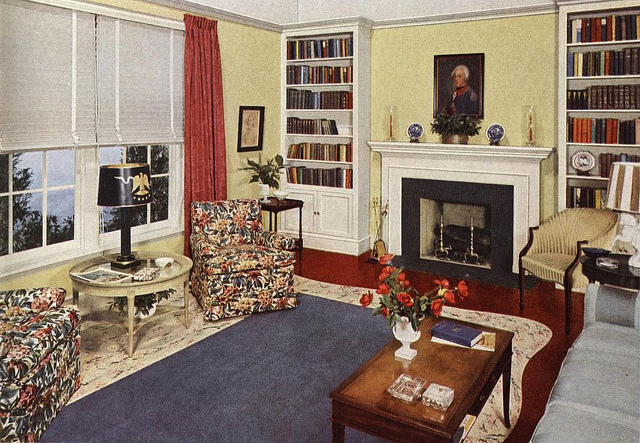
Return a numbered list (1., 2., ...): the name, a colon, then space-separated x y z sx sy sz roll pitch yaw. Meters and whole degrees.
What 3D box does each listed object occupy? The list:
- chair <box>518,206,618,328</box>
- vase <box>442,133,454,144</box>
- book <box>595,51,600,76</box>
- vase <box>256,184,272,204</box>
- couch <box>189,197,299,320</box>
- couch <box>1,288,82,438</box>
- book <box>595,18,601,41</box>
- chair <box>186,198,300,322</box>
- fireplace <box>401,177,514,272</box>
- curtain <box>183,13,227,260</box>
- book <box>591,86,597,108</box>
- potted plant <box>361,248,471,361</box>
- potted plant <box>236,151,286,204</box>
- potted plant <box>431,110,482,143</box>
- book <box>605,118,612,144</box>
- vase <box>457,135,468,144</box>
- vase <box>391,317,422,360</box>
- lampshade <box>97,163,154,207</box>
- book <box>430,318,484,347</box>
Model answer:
1. chair: 2.970 0.484 5.534 0.859 1.243 0.816 -2 9 -18
2. vase: 1.838 -1.172 6.660 0.135 0.112 0.144 3 5 29
3. book: 3.456 -1.933 5.777 0.054 0.279 0.061 -2 11 -11
4. vase: -0.819 -0.401 7.060 0.239 0.304 0.255 0 3 0
5. couch: -0.945 0.419 5.723 1.264 1.187 0.948 -4 12 -18
6. couch: -2.235 1.144 3.692 0.592 0.607 0.878 -5 13 -16
7. book: 3.453 -2.346 5.751 0.064 0.261 0.040 2 11 11
8. chair: -1.002 0.428 5.836 1.435 1.228 1.401 5 8 38
9. fireplace: 2.029 -0.008 6.888 1.650 1.195 0.450 7 13 28
10. curtain: -1.560 -1.270 6.533 0.627 2.908 0.142 5 14 16
11. book: 3.433 -1.540 5.821 0.066 0.256 0.026 1 11 6
12. potted plant: 0.746 0.748 3.721 0.818 0.792 0.858 16 -13 -37
13. potted plant: -0.828 -0.615 7.103 0.684 0.689 0.706 0 5 -28
14. potted plant: 1.947 -1.311 6.618 0.477 0.269 0.484 -1 6 -21
15. book: 3.612 -1.106 5.804 0.098 0.295 0.044 5 12 24
16. vase: 2.029 -1.147 6.601 0.106 0.126 0.113 0 1 -1
17. vase: 0.662 0.862 3.620 0.281 0.376 0.267 0 0 24
18. lampshade: -2.073 -0.361 4.907 0.539 0.433 0.233 -7 13 -29
19. book: 1.114 0.901 3.758 0.219 0.058 0.214 8 13 35
